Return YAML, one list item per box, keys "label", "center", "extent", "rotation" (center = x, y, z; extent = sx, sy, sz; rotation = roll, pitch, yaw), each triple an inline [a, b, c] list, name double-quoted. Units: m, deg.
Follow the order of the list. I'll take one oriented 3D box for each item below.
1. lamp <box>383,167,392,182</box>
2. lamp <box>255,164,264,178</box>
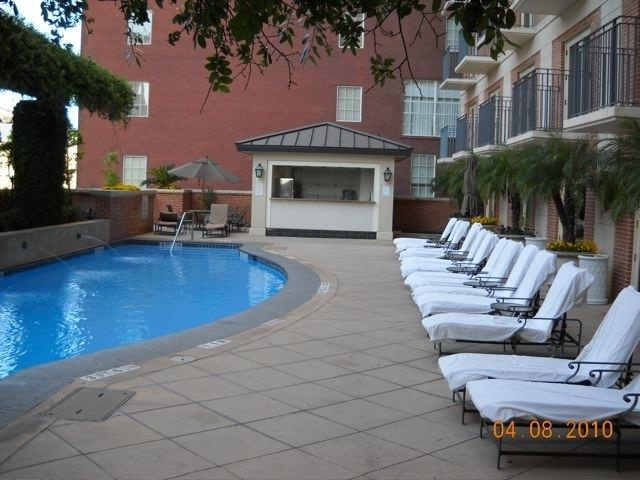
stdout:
- label: "lamp"
  center: [2.474, -2.440, 22.175]
  extent: [0.455, 0.575, 0.434]
  rotation: [-1, 5, -2]
- label: "lamp"
  center: [-2.346, -2.600, 22.343]
  extent: [0.442, 0.533, 0.427]
  rotation: [0, 3, -2]
